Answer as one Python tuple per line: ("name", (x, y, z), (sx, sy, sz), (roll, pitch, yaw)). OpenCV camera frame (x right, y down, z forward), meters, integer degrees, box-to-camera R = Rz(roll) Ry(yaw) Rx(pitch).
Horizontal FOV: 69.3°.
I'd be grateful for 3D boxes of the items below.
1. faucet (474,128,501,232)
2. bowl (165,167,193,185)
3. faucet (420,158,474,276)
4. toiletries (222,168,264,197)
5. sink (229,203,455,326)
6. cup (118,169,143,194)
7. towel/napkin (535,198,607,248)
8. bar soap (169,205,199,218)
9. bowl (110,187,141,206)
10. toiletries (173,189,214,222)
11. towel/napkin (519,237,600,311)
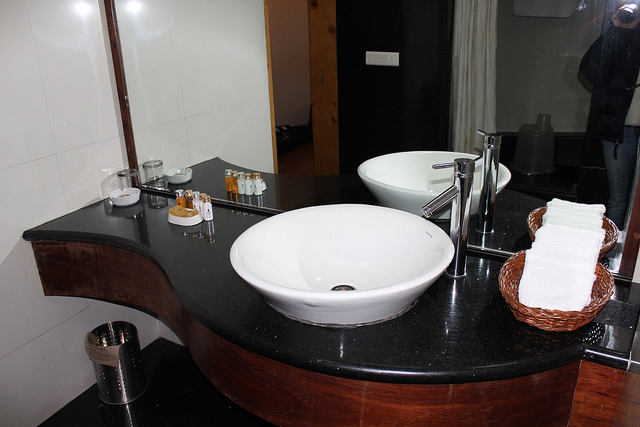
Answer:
("faucet", (0.580, -0.096, 1.593), (0.060, 0.350, 0.039), (6, 20, 22))
("bowl", (-0.656, -0.175, 2.141), (0.087, 0.041, 0.086), (-8, 26, 4))
("faucet", (0.419, 0.020, 1.481), (0.211, 0.388, 0.074), (-11, 21, -25))
("toiletries", (-0.334, -0.128, 2.003), (0.185, 0.119, 0.104), (8, 29, 14))
("sink", (0.061, 0.162, 1.459), (0.662, 0.243, 0.492), (-6, 19, -12))
("cup", (-0.894, -0.161, 2.172), (0.092, 0.107, 0.097), (1, 26, -1))
("towel/napkin", (0.789, 0.009, 1.463), (0.165, 0.062, 0.169), (15, 44, 28))
("bar soap", (-0.565, -0.021, 1.906), (0.094, 0.027, 0.055), (13, 26, 26))
("bowl", (-0.874, -0.077, 2.083), (0.098, 0.045, 0.094), (0, 35, 0))
("toiletries", (-0.536, -0.059, 1.931), (0.149, 0.100, 0.151), (-4, 27, -10))
("towel/napkin", (0.667, 0.185, 1.306), (0.178, 0.124, 0.171), (9, 22, 28))
